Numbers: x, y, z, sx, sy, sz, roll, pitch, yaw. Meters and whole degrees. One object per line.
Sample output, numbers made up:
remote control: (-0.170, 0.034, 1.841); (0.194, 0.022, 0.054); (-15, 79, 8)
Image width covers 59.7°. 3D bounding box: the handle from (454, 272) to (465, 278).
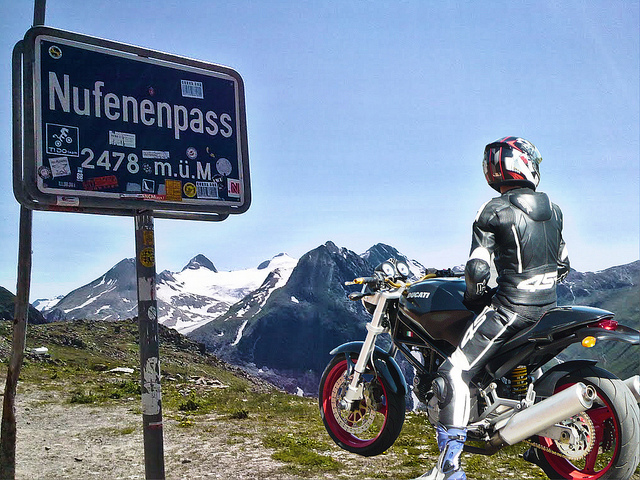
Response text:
handle: (2.457, 0.615, 9.890); (0.154, 0.098, 0.123); (3, -8, 9)
